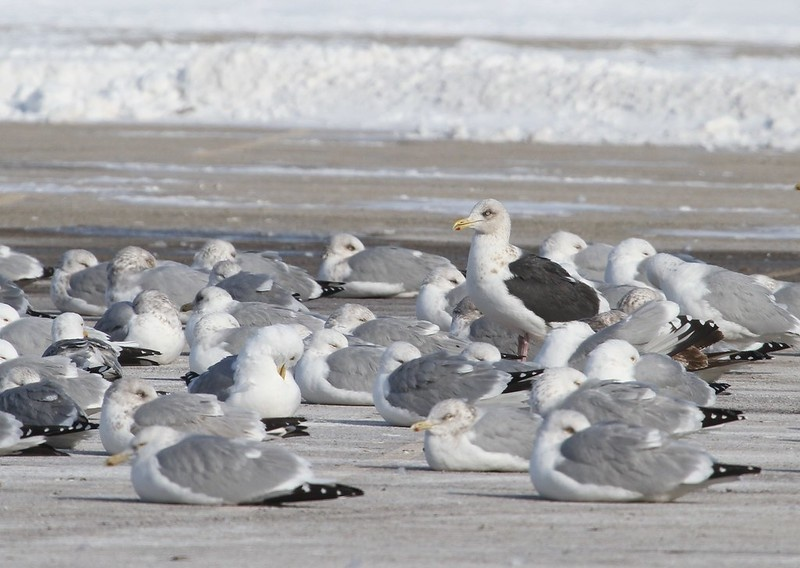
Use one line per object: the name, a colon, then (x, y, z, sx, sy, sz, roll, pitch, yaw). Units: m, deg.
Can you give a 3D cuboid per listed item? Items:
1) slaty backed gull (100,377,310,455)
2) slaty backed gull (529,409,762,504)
slaty backed gull: (-2.010, 1.362, 16.479, 2.409, 0.888, 0.758, 4, 29, -20)
slaty backed gull: (2.236, 1.713, 15.349, 1.795, 0.622, 0.822, 6, 66, 6)
